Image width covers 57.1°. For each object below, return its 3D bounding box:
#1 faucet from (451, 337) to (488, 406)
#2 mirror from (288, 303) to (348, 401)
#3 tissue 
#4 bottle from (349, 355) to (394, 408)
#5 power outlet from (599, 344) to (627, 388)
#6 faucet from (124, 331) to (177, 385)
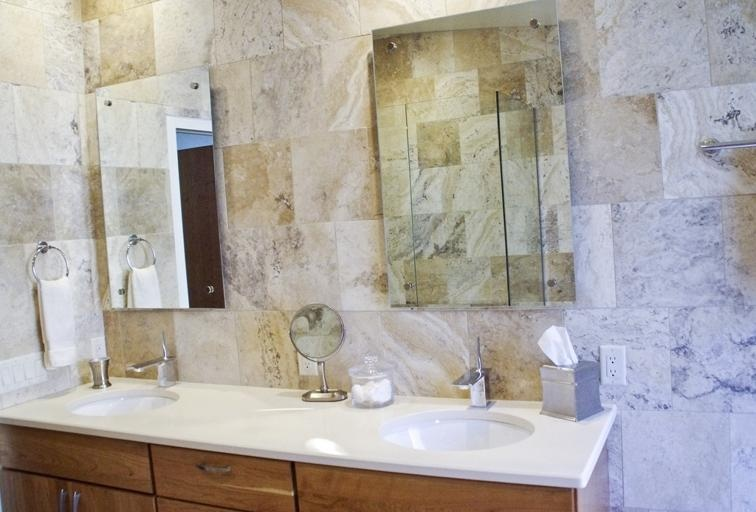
[{"bbox_3d":[0.394,0.502,2.950,0.121,0.275,0.252,-4,1,14],"label":"faucet"},{"bbox_3d":[-0.268,0.447,3.220,0.335,0.539,0.219,-8,-14,13],"label":"mirror"},{"bbox_3d":[0.788,0.479,2.858,0.272,0.342,0.260,-4,-5,15],"label":"tissue "},{"bbox_3d":[-0.031,0.545,3.039,0.207,0.223,0.209,-1,-4,-2],"label":"bottle"},{"bbox_3d":[0.975,0.453,2.888,0.109,0.148,0.020,-4,1,20],"label":"power outlet"},{"bbox_3d":[-1.110,0.534,3.457,0.146,0.264,0.271,-4,1,10],"label":"faucet"}]
